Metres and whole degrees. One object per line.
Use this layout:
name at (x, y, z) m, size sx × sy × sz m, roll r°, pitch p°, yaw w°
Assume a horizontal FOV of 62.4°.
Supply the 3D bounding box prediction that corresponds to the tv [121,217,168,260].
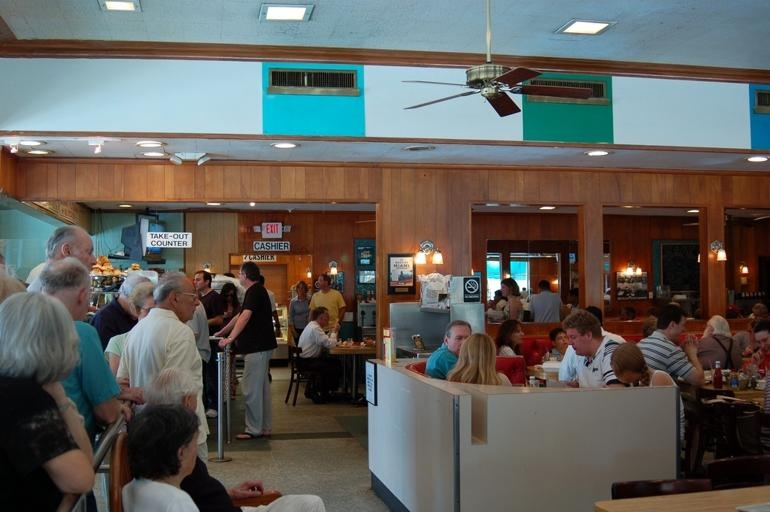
tv at (-5.242, -0.363, 13.961) m, size 0.701 × 0.853 × 0.990 m, roll -1°, pitch -1°, yaw 18°

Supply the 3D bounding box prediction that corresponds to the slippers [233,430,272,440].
slippers at (-1.616, 2.198, 7.767) m, size 0.376 × 0.081 × 0.136 m, roll 3°, pitch -7°, yaw -8°

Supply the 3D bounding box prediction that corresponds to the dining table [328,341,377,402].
dining table at (-0.620, 1.889, 10.318) m, size 0.745 × 0.716 × 1.281 m, roll -4°, pitch -13°, yaw -40°
